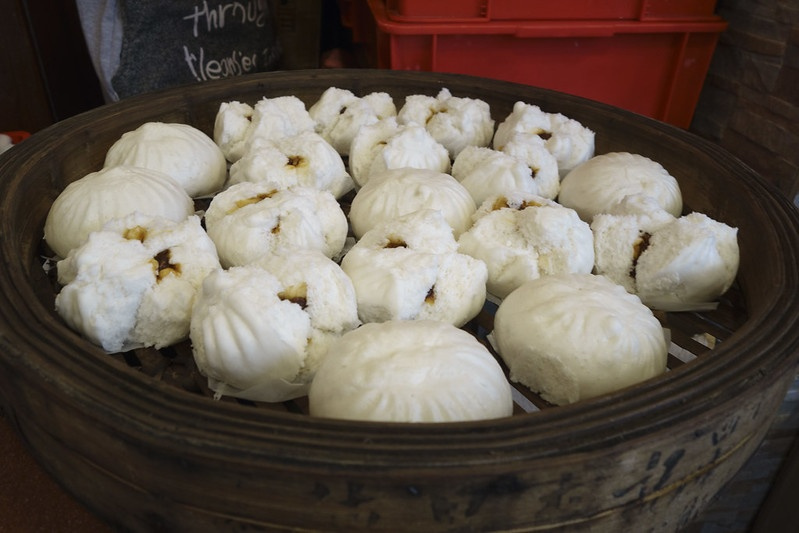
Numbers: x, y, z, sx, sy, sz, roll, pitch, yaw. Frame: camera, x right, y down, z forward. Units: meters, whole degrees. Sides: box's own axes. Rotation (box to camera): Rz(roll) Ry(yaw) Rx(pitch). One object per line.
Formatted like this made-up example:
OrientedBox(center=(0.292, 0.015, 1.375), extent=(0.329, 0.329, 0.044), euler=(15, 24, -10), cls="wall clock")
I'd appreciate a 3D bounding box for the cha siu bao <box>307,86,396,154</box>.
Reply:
OrientedBox(center=(-0.189, -0.618, 2.406), extent=(0.238, 0.127, 0.294), euler=(33, 59, 14), cls="cha siu bao")
